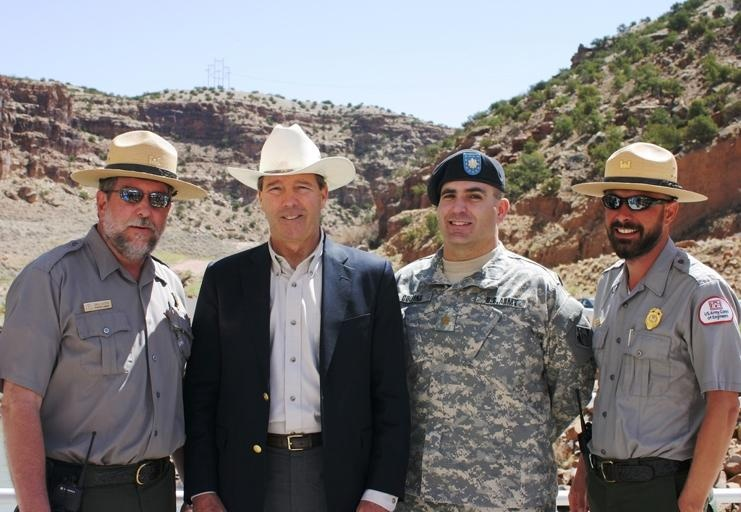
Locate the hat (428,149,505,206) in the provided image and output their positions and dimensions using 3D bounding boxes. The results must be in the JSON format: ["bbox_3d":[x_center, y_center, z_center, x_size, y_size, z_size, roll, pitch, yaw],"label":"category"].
[{"bbox_3d":[1.105,-0.736,10.221,0.867,0.412,1.008,-5,-21,7],"label":"hat"}]

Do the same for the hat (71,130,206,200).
[{"bbox_3d":[-2.396,-0.972,9.778,0.898,0.355,0.928,8,-14,-17],"label":"hat"}]
